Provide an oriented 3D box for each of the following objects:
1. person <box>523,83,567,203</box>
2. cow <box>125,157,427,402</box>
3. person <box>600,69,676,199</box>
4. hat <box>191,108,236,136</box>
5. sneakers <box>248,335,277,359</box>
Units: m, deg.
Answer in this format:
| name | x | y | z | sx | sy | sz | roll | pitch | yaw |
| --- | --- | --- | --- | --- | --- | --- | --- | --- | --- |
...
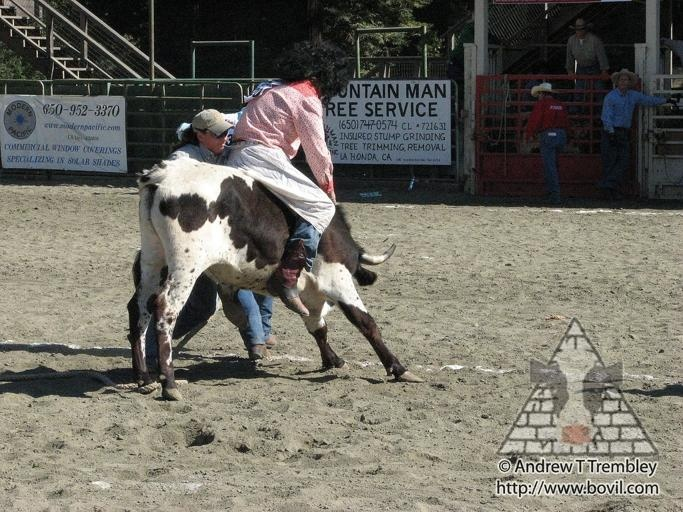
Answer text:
| name | x | y | z | sx | sy | sz | roll | pitch | yaw |
| --- | --- | --- | --- | --- | --- | --- | --- | --- | --- |
| person | 3.380 | -1.858 | 19.767 | 0.673 | 1.987 | 0.517 | 0 | 6 | 4 |
| cow | -0.869 | 0.180 | 11.272 | 2.217 | 2.200 | 0.573 | -2 | 7 | -17 |
| person | 4.767 | -2.029 | 19.929 | 0.873 | 2.114 | 0.591 | 1 | 7 | 12 |
| hat | -1.178 | -1.278 | 11.281 | 0.381 | 0.188 | 0.243 | -2 | 25 | 32 |
| sneakers | -0.803 | 0.942 | 12.138 | 0.113 | 0.141 | 0.369 | 2 | 10 | 14 |
